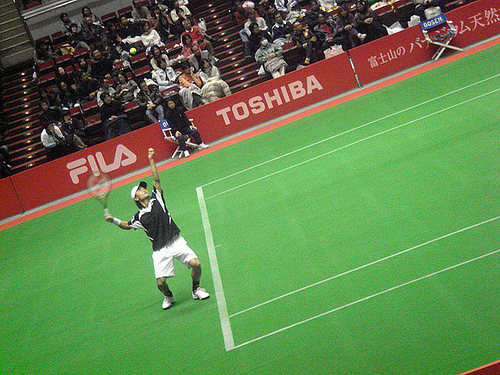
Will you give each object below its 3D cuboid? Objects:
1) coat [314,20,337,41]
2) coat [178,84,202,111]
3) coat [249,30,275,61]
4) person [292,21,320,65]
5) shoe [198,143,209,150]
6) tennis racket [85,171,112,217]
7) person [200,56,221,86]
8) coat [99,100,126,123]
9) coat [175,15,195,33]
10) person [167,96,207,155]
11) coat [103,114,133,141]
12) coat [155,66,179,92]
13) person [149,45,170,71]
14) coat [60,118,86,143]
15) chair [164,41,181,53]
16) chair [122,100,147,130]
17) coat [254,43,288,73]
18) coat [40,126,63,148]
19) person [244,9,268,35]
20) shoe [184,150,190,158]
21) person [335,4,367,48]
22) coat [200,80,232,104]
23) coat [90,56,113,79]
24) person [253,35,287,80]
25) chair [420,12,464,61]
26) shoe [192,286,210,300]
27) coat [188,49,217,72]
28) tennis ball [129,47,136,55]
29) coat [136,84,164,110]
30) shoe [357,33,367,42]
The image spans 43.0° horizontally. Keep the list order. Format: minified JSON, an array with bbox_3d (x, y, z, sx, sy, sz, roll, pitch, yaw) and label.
[{"bbox_3d":[2.832,-5.760,23.435,0.714,0.564,0.713,-12,13,45],"label":"coat"},{"bbox_3d":[-2.165,-3.162,22.684,0.806,0.897,0.344,-18,22,-9],"label":"coat"},{"bbox_3d":[0.402,-5.461,24.738,0.931,1.021,0.376,4,-1,19],"label":"coat"},{"bbox_3d":[2.026,-5.273,23.251,0.871,1.155,1.945,-24,33,16],"label":"person"},{"bbox_3d":[-1.611,-1.399,21.701,0.431,0.204,0.159,-15,12,31],"label":"shoe"},{"bbox_3d":[-3.298,0.060,14.095,0.506,1.158,0.059,-1,25,24],"label":"tennis racket"},{"bbox_3d":[-1.454,-4.175,23.138,0.705,1.018,0.456,-11,24,-7],"label":"person"},{"bbox_3d":[-4.836,-2.658,22.301,0.886,0.695,0.448,-7,15,-5],"label":"coat"},{"bbox_3d":[-2.630,-6.557,25.579,0.769,0.606,0.717,-21,16,-2],"label":"coat"},{"bbox_3d":[-2.190,-2.050,21.447,0.877,1.776,0.628,-30,11,-28],"label":"person"},{"bbox_3d":[-4.681,-2.117,22.177,0.988,0.806,0.433,-23,9,-6],"label":"coat"},{"bbox_3d":[-3.069,-3.938,23.411,0.763,0.924,0.593,-27,18,-6],"label":"coat"},{"bbox_3d":[-3.442,-4.832,23.673,0.701,0.845,1.155,-23,9,-2],"label":"person"},{"bbox_3d":[-6.219,-2.019,22.283,0.649,0.847,0.635,-25,10,-12],"label":"coat"},{"bbox_3d":[-3.080,-5.579,25.444,0.476,0.482,0.559,-6,-26,2],"label":"chair"},{"bbox_3d":[-4.173,-2.609,22.878,1.027,0.891,0.697,-9,46,5],"label":"chair"},{"bbox_3d":[0.772,-4.553,23.607,0.995,0.446,1.481,-26,28,5],"label":"coat"},{"bbox_3d":[-6.834,-1.754,21.987,0.709,0.533,0.397,-44,35,-20],"label":"coat"},{"bbox_3d":[0.277,-6.362,24.621,0.776,0.986,0.720,-27,42,-9],"label":"person"},{"bbox_3d":[-2.147,-1.130,21.536,0.186,0.223,0.301,-23,9,0],"label":"shoe"},{"bbox_3d":[3.513,-5.799,23.135,0.777,1.166,0.385,-22,10,11],"label":"person"},{"bbox_3d":[-1.287,-3.407,22.710,1.143,0.718,0.473,-33,-14,13],"label":"coat"},{"bbox_3d":[-5.710,-4.569,24.436,1.080,0.879,0.561,-7,7,-15],"label":"coat"},{"bbox_3d":[0.882,-4.692,23.448,1.061,0.647,2.185,-21,53,4],"label":"person"},{"bbox_3d":[6.586,-5.190,21.870,1.255,1.742,0.620,-14,-24,3],"label":"chair"},{"bbox_3d":[-1.138,2.429,14.594,0.273,0.150,0.358,-5,4,-28],"label":"shoe"},{"bbox_3d":[-1.813,-4.683,23.676,0.916,0.815,0.493,-34,0,-12],"label":"coat"},{"bbox_3d":[-4.683,-5.435,25.410,0.243,0.220,0.264,-27,10,5],"label":"tennis ball"},{"bbox_3d":[-3.562,-3.241,22.648,0.843,0.955,0.367,-3,12,-3],"label":"coat"},{"bbox_3d":[4.125,-5.455,23.180,0.315,0.239,0.700,-19,9,14],"label":"shoe"}]
